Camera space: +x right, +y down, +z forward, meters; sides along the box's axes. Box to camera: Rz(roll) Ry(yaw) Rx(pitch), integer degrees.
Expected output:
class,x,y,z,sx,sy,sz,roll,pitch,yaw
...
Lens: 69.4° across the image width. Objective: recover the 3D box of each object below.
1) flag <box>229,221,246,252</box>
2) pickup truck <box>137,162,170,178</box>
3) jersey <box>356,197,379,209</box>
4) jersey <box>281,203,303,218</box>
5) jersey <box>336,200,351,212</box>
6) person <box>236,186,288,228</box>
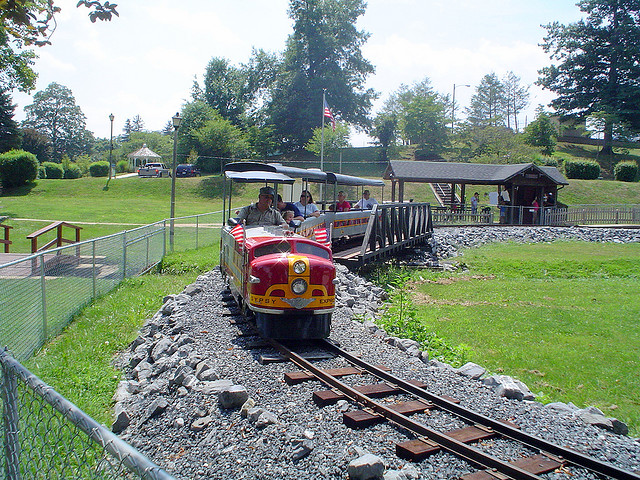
class,x,y,z,sx,sy,sz,roll,pitch,yaw
flag,-1.966,-0.063,11.052,0.154,0.971,0.678,-4,7,-38
pickup truck,-22.314,-9.424,62.527,2.275,1.733,3.962,-1,3,-13
jersey,2.253,-1.785,22.952,1.141,0.987,0.348,0,0,-24
jersey,-0.886,-0.979,14.875,0.593,0.599,0.326,-5,8,-36
jersey,0.919,-1.486,20.564,0.262,0.507,1.275,6,8,23
person,-1.510,-0.747,12.032,1.282,1.156,0.746,11,-4,-14
